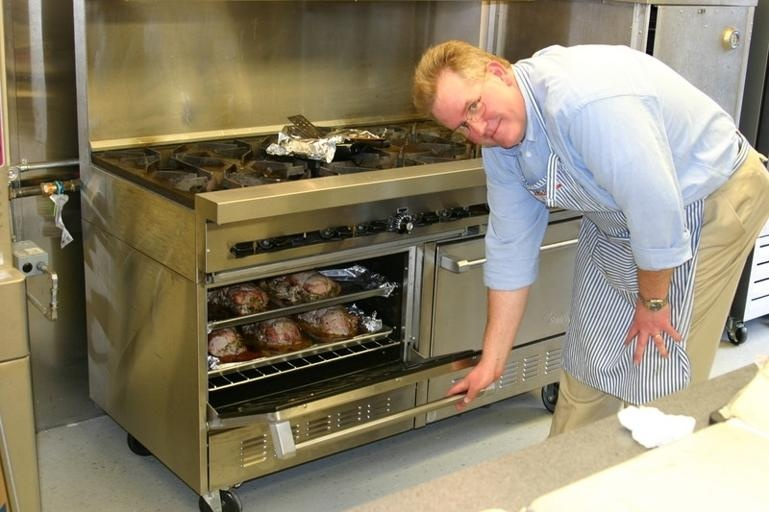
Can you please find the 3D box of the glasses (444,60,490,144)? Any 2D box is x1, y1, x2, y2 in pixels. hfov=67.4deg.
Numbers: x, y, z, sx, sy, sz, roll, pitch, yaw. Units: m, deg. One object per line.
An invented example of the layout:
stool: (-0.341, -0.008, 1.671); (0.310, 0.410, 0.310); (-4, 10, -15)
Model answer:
glasses: (0.211, -0.365, 1.371); (0.047, 0.151, 0.117); (-15, -8, 35)

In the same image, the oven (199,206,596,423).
oven: (0.206, 0.087, 2.534); (1.246, 0.769, 0.791); (-13, 14, -33)

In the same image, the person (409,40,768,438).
person: (0.622, 0.037, 1.616); (1.039, 1.227, 0.409); (-8, 23, -12)

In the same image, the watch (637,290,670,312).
watch: (0.729, 0.123, 1.565); (0.078, 0.053, 0.054); (5, 23, 18)
